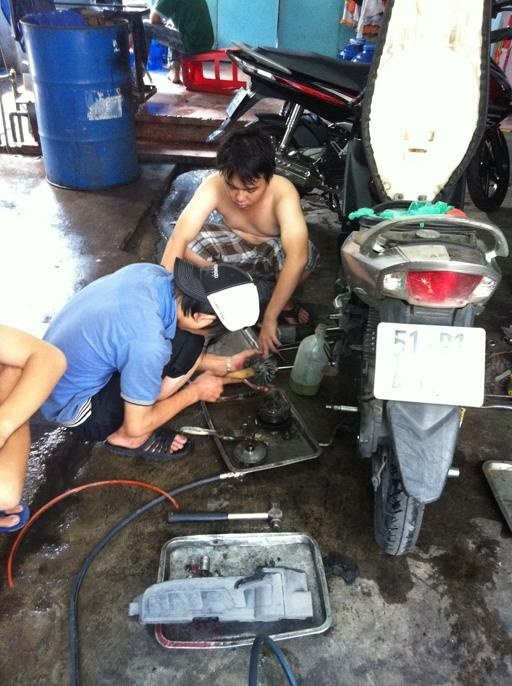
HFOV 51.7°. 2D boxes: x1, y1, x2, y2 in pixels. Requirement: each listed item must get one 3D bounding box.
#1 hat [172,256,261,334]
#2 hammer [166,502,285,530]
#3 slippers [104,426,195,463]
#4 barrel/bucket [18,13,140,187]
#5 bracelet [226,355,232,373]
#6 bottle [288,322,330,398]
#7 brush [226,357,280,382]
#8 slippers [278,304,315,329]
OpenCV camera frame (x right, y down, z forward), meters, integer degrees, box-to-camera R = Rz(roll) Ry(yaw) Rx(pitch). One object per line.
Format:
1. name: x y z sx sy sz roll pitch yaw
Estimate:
1. hat: -0.132 -0.142 1.741 0.254 0.246 0.201 -7 41 -7
2. hammer: -0.093 0.570 1.730 0.353 0.044 0.121 1 30 -2
3. slippers: -0.405 0.397 2.046 0.323 0.089 0.119 1 32 1
4. barrel/bucket: -1.280 -1.722 3.945 0.792 1.156 0.353 -7 42 -7
5. bracelet: -0.120 0.097 2.336 0.026 0.054 0.057 4 21 1
6. bottle: 0.249 0.078 2.327 0.144 0.302 0.132 10 25 -5
7. brush: -0.005 0.124 2.379 0.204 0.048 0.097 -10 35 -37
8. slippers: 0.220 -0.133 2.856 0.191 0.063 0.106 28 50 36
